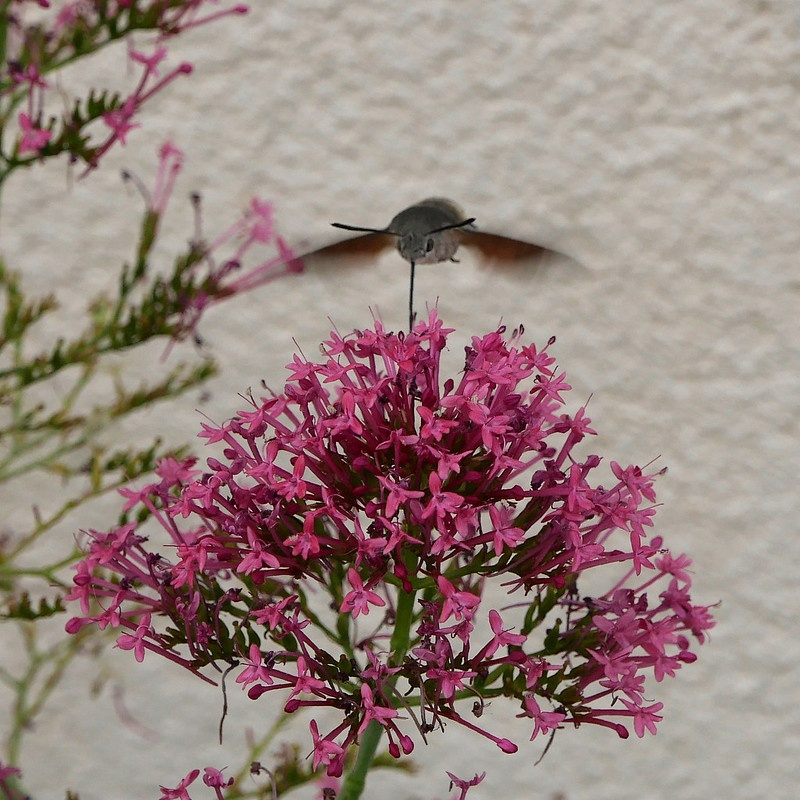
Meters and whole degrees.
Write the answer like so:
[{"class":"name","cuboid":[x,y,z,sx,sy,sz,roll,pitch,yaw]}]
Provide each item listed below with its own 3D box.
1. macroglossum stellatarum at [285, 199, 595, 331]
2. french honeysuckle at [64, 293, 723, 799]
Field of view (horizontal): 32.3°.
[{"class":"macroglossum stellatarum","cuboid":[0.067,-0.338,2.794,0.578,0.140,0.345,-1,27,15]},{"class":"french honeysuckle","cuboid":[-0.050,0.246,2.551,0.865,0.904,0.865,24,33,23]}]
